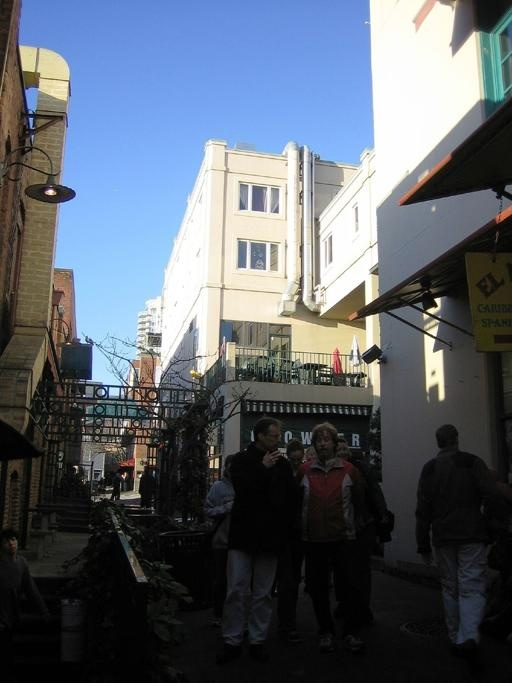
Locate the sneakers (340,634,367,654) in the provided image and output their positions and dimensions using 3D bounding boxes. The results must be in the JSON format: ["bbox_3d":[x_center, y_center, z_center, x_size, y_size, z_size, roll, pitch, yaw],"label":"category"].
[{"bbox_3d":[0.705,2.216,4.462,0.130,0.128,0.245,-14,-16,6],"label":"sneakers"}]

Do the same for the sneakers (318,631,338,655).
[{"bbox_3d":[0.522,2.235,4.518,0.093,0.172,0.152,5,-20,-30],"label":"sneakers"}]

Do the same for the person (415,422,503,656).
[{"bbox_3d":[1.542,1.459,4.680,0.478,1.647,0.720,4,-12,-19],"label":"person"}]

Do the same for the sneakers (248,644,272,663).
[{"bbox_3d":[0.011,2.133,4.193,0.084,0.107,0.188,10,-15,-37],"label":"sneakers"}]

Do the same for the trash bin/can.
[{"bbox_3d":[-0.722,2.449,6.905,0.743,1.007,0.857,0,-12,-8],"label":"trash bin/can"}]

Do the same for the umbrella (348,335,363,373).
[{"bbox_3d":[4.125,0.582,25.307,0.466,1.640,1.316,-1,-12,9],"label":"umbrella"}]

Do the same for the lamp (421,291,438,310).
[{"bbox_3d":[2.739,-0.631,9.751,0.220,0.310,0.677,-3,-13,15],"label":"lamp"}]

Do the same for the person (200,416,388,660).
[{"bbox_3d":[0.294,1.463,4.701,1.216,1.667,0.768,3,-12,-14],"label":"person"}]

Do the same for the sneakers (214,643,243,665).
[{"bbox_3d":[-0.181,2.142,4.197,0.177,0.107,0.193,2,-12,-9],"label":"sneakers"}]

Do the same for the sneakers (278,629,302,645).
[{"bbox_3d":[0.295,2.410,4.973,0.066,0.098,0.213,3,-20,-16],"label":"sneakers"}]

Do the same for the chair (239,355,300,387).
[{"bbox_3d":[0.249,1.409,23.276,1.509,0.830,1.159,6,-14,-20],"label":"chair"}]
